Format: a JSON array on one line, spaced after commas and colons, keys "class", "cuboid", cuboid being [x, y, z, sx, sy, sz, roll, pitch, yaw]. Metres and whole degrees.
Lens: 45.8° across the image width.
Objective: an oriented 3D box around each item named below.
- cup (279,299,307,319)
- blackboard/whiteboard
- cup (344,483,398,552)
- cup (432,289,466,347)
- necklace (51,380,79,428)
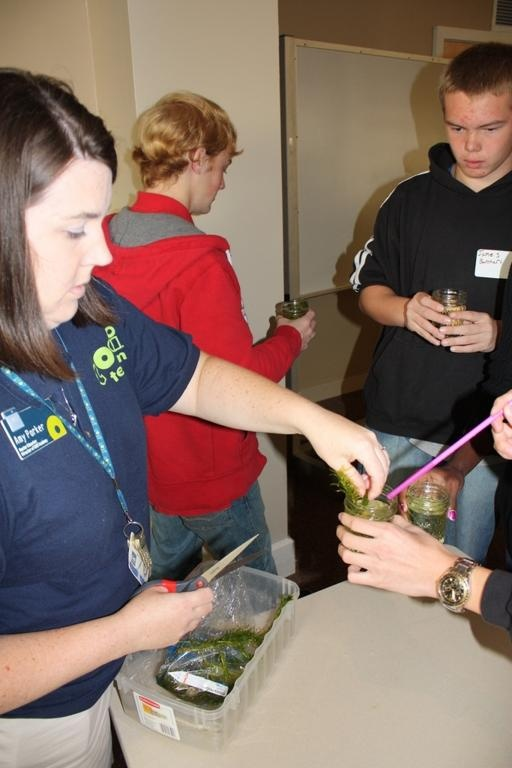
[{"class": "cup", "cuboid": [0.136, -0.253, 2.118, 0.082, 0.074, 0.079, -2, 7, 0]}, {"class": "blackboard/whiteboard", "cuboid": [0.760, -1.718, 4.236, 1.584, 1.088, 0.057, -22, 33, -39]}, {"class": "cup", "cuboid": [0.225, 0.261, 1.185, 0.076, 0.068, 0.073, 0, 12, 0]}, {"class": "cup", "cuboid": [0.575, -0.233, 1.803, 0.088, 0.083, 0.086, -3, 12, 1]}, {"class": "necklace", "cuboid": [-0.313, 0.033, 0.975, 0.022, 0.063, 0.046, -31, 2, 35]}]
